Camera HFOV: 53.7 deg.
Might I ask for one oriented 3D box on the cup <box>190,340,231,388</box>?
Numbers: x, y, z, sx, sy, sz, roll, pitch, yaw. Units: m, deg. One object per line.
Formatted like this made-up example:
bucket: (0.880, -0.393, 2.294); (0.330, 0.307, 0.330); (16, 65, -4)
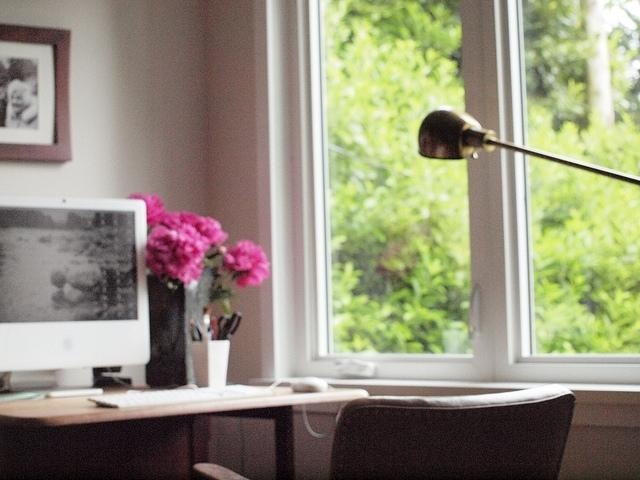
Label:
cup: (-0.356, 0.400, 2.043); (0.136, 0.212, 0.124); (-1, -20, 0)

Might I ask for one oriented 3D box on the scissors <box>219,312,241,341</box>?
scissors: (-0.301, 0.278, 2.111); (0.060, 0.097, 0.027); (21, 5, -13)

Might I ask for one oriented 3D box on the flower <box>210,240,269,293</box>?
flower: (-0.310, 0.096, 2.282); (0.255, 0.150, 0.181); (0, -2, 33)
